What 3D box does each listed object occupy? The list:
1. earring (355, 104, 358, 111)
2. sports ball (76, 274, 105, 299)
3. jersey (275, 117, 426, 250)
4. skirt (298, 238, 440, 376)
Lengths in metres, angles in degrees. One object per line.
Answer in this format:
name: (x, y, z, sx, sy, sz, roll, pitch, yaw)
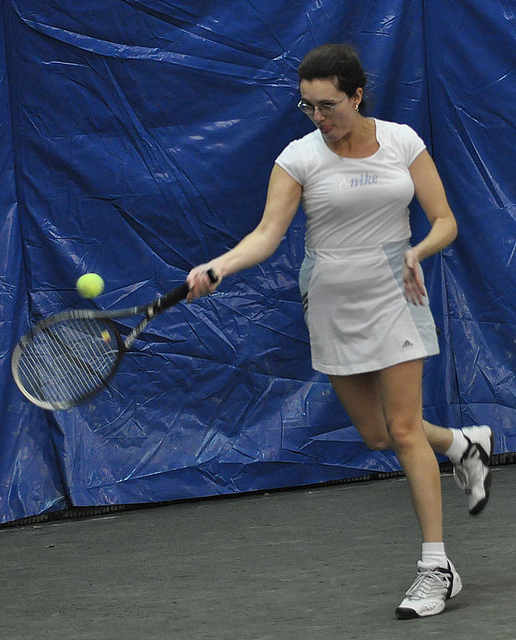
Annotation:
earring: (0.268, -0.574, 1.922, 0.004, 0.012, 0.009, -3, -11, 8)
sports ball: (-0.654, -0.136, 2.757, 0.088, 0.091, 0.135, -4, -4, -16)
jersey: (0.271, -0.376, 1.975, 0.398, 0.360, 0.169, -6, -4, 12)
skirt: (0.268, -0.033, 2.012, 0.407, 0.383, 0.295, 4, 10, -5)
